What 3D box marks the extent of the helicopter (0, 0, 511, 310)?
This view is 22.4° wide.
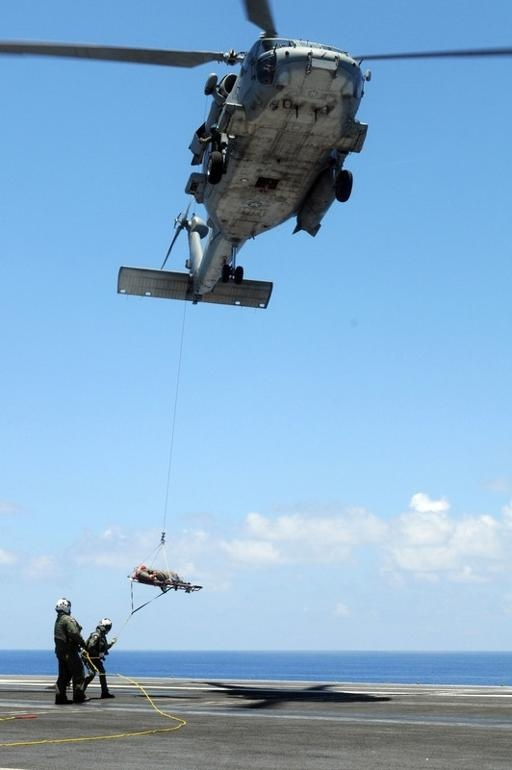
[{"bbox_3d":[0.009,-4.713,27.769,7.343,2.838,8.150,6,-29,-7],"label":"helicopter"}]
